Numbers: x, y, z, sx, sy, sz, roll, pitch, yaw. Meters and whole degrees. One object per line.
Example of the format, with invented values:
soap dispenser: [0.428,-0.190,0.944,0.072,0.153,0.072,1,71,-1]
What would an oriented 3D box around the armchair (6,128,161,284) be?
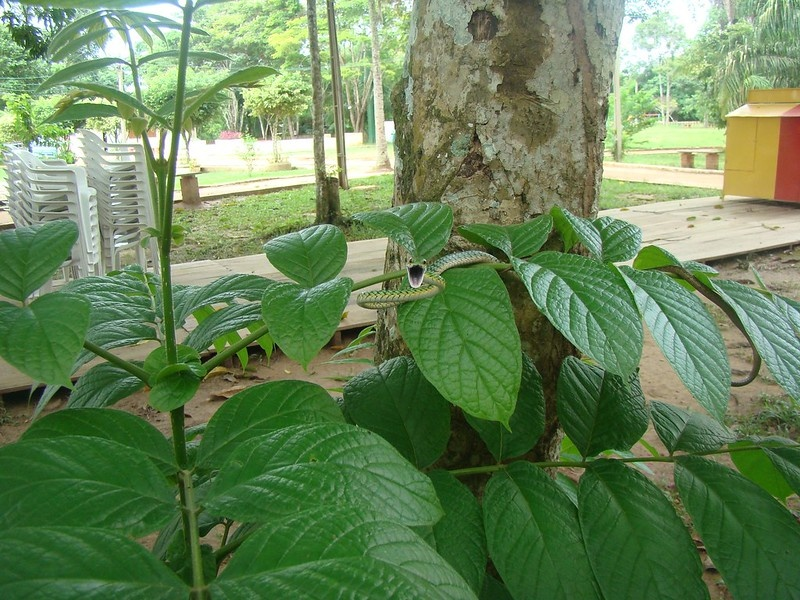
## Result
armchair: [-2.223,-0.671,4.120,0.927,1.109,1.431,-8,13,-30]

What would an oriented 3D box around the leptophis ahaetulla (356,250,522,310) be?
leptophis ahaetulla: [0.057,-0.016,0.891,0.209,0.036,0.126,-31,-12,26]

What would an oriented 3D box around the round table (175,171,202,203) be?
round table: [-4.108,-2.177,11.285,0.345,0.584,1.347,-5,12,-19]
